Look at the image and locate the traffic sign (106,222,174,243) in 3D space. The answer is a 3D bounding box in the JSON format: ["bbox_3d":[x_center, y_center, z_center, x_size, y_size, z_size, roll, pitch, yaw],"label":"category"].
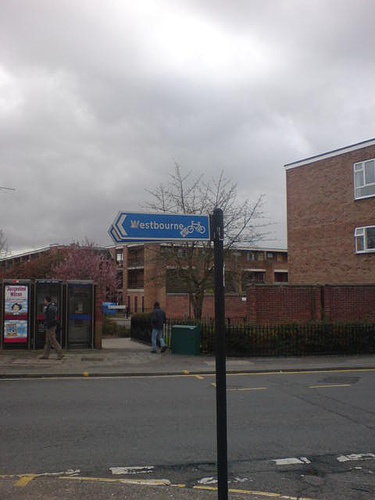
[{"bbox_3d":[-0.430,-0.126,4.443,0.393,0.144,0.208,-1,-6,-3],"label":"traffic sign"}]

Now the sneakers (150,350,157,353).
[{"bbox_3d":[-1.096,3.334,18.019,0.176,0.100,0.439,-1,-6,-4],"label":"sneakers"}]
